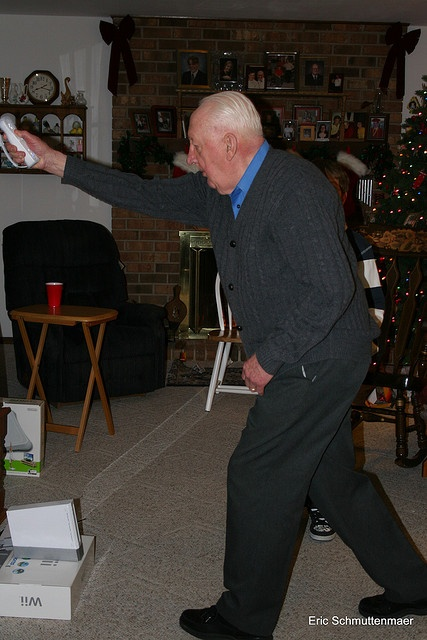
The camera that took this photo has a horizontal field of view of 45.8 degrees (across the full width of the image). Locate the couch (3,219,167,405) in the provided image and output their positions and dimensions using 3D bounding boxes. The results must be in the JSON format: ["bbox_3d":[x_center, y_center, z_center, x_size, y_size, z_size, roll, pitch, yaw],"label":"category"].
[{"bbox_3d":[-0.774,-0.163,3.865,1.205,1.499,1.321,-5,11,-37],"label":"couch"}]

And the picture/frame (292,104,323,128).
[{"bbox_3d":[0.877,-1.911,4.747,0.243,0.170,0.025,0,3,-5],"label":"picture/frame"}]

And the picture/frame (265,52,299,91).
[{"bbox_3d":[0.620,-2.307,4.659,0.379,0.382,0.031,-1,6,-6],"label":"picture/frame"}]

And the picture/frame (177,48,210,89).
[{"bbox_3d":[-0.195,-2.307,4.631,0.417,0.451,0.033,-1,6,-5],"label":"picture/frame"}]

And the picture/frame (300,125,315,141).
[{"bbox_3d":[0.875,-1.764,4.748,0.146,0.160,0.012,-1,5,-7],"label":"picture/frame"}]

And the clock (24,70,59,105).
[{"bbox_3d":[-1.609,-2.197,4.768,0.350,0.335,0.081,2,4,-2],"label":"clock"}]

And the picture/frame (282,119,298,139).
[{"bbox_3d":[0.712,-1.784,4.727,0.196,0.253,0.030,1,-4,0],"label":"picture/frame"}]

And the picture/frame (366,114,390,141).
[{"bbox_3d":[1.531,-1.818,4.756,0.262,0.328,0.023,1,5,-5],"label":"picture/frame"}]

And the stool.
[{"bbox_3d":[-0.809,0.322,2.785,0.685,0.811,0.459,3,9,18],"label":"stool"}]

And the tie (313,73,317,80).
[{"bbox_3d":[0.950,-2.276,4.724,0.034,0.046,0.015,-1,-1,-6],"label":"tie"}]
